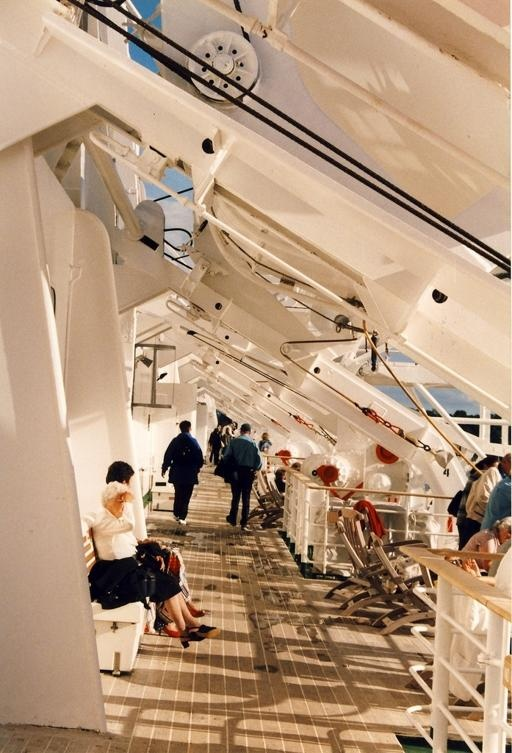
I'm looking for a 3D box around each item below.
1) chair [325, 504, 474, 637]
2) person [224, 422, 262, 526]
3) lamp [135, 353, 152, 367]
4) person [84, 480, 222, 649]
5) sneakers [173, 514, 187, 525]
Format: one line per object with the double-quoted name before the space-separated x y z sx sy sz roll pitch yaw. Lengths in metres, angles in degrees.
"chair" 1.160 1.773 5.742 0.935 0.950 1.652 4 -5 8
"person" -0.225 1.625 9.727 0.553 1.584 0.471 3 -6 10
"lamp" -1.984 -0.248 10.435 0.203 0.235 0.403 -7 -11 34
"person" -0.689 1.236 3.921 0.793 1.030 0.519 -3 -12 3
"sneakers" -1.189 2.275 9.388 0.106 0.136 0.313 5 -18 -15
